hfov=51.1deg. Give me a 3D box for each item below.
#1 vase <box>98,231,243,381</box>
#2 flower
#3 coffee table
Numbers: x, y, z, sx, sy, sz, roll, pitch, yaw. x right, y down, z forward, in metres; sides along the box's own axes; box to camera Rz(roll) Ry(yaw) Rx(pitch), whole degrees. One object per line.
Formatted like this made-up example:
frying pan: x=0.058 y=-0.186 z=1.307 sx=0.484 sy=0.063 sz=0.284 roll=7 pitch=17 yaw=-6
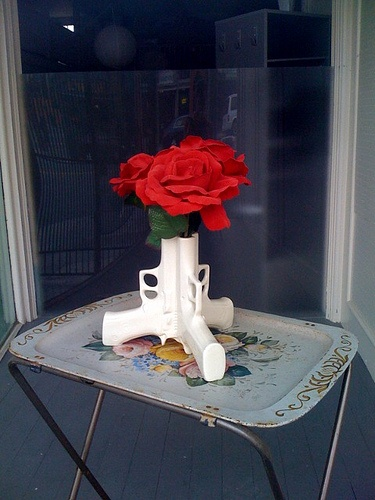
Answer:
vase: x=-0.020 y=0.094 z=0.777 sx=0.273 sy=0.202 sz=0.214 roll=5 pitch=11 yaw=20
flower: x=0.006 y=-0.112 z=0.659 sx=0.161 sy=0.156 sz=0.143 roll=-13 pitch=-5 yaw=-28
coffee table: x=-0.031 y=0.401 z=0.991 sx=0.458 sy=0.442 sz=0.303 roll=14 pitch=36 yaw=22
